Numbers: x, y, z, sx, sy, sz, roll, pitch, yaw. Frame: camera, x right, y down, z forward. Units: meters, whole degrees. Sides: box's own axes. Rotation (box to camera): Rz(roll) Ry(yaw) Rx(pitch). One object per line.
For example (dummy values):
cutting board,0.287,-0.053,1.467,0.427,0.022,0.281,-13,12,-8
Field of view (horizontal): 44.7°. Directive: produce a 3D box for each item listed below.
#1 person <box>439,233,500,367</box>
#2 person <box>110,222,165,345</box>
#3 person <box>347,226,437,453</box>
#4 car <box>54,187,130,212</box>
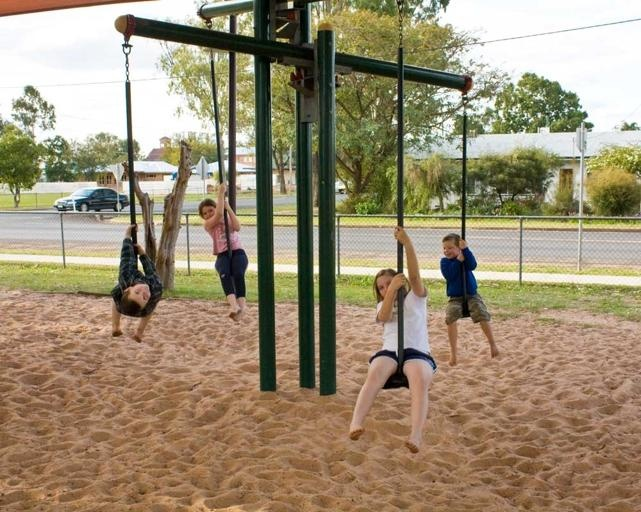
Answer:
person,1.654,0.506,8.962,0.592,1.534,0.480,-5,8,-35
person,-2.164,0.365,9.082,0.562,1.554,1.449,-3,7,-16
person,0.654,0.740,6.918,0.711,2.020,1.122,0,6,9
car,-10.123,-2.495,34.293,2.558,1.028,1.231,-6,8,-37
